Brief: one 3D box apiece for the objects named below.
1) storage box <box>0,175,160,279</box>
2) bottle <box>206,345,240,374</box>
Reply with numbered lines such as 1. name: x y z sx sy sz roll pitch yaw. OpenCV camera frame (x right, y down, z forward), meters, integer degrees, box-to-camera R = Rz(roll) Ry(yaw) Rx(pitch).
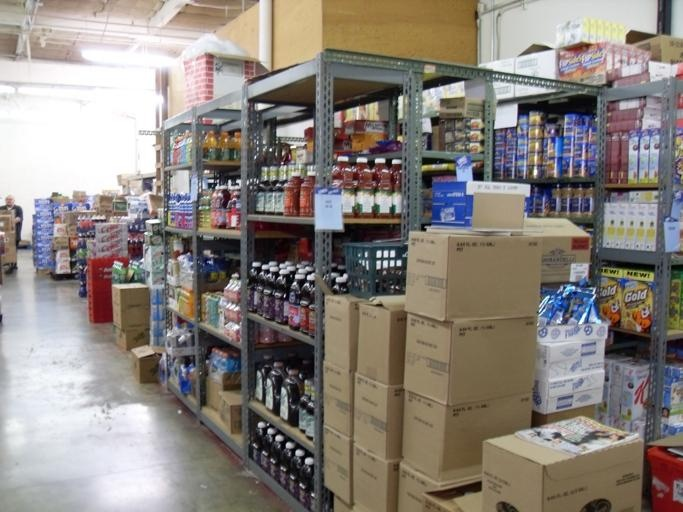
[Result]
1. storage box: -5.813 -0.710 13.797 4.478 2.227 2.314 -5 8 -44
2. bottle: -0.999 0.877 4.951 0.212 0.147 0.222 2 1 0
